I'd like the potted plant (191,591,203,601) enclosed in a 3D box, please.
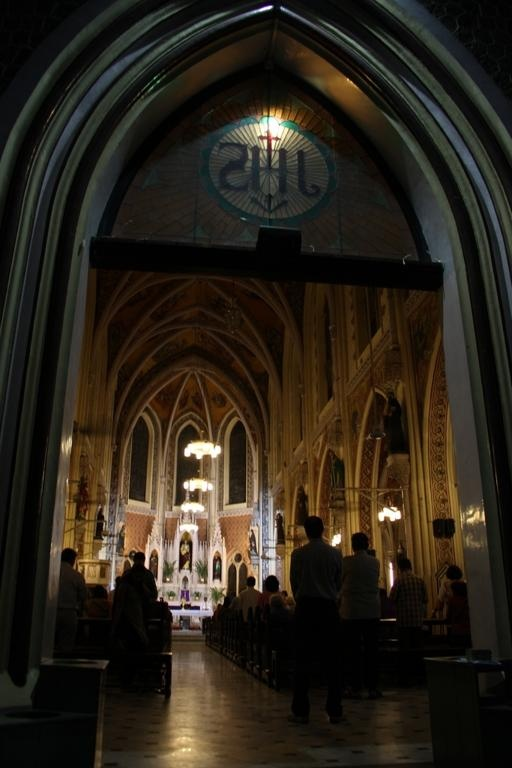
[{"bbox_3d":[-2.925,10.432,26.909,0.394,0.451,0.367,9,-15,-38],"label":"potted plant"}]

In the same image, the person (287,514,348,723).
[{"bbox_3d":[0.383,1.505,3.566,0.341,1.266,0.391,-2,-16,7],"label":"person"}]

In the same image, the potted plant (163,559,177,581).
[{"bbox_3d":[-4.340,9.283,26.970,0.602,0.963,0.673,8,-23,-14],"label":"potted plant"}]

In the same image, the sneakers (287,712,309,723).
[{"bbox_3d":[0.254,2.109,3.459,0.139,0.062,0.080,-9,-16,18],"label":"sneakers"}]

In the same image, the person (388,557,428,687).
[{"bbox_3d":[1.751,2.680,6.265,0.371,1.291,1.008,-3,-17,13],"label":"person"}]

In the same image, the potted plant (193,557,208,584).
[{"bbox_3d":[-2.779,9.509,27.620,0.742,1.080,0.511,16,-22,-42],"label":"potted plant"}]
